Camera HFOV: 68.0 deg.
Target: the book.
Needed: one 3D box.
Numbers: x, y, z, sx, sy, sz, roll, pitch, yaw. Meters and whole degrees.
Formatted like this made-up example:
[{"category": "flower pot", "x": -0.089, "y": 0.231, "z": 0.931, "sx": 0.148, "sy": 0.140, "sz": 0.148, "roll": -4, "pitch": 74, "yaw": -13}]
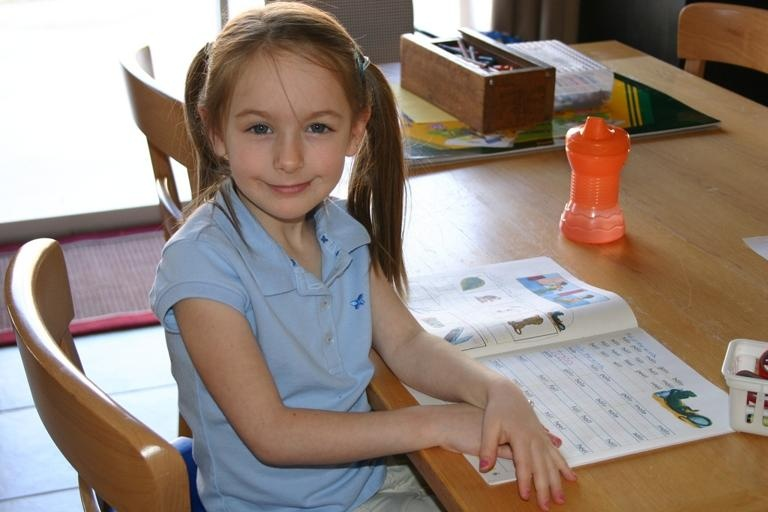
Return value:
[{"category": "book", "x": 0.258, "y": 0.123, "z": 0.868, "sx": 0.290, "sy": 0.073, "sz": 0.485, "roll": -17, "pitch": 28, "yaw": -24}]
